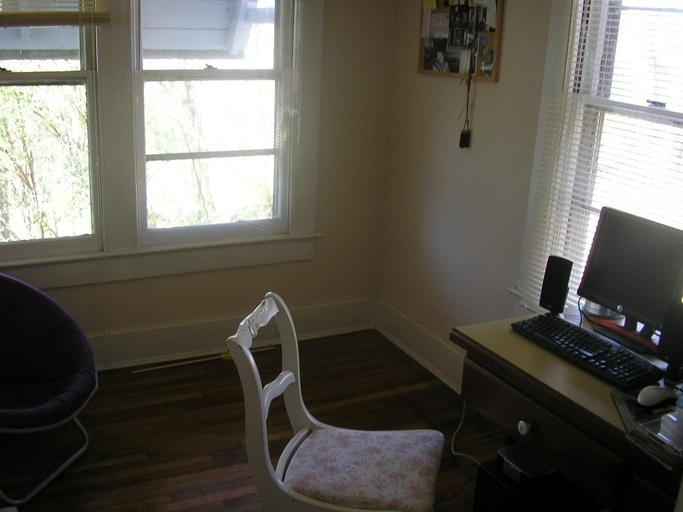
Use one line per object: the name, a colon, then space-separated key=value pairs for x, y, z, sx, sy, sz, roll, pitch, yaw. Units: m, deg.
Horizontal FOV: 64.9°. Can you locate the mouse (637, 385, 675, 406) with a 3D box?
mouse: x=0.976 y=0.435 z=1.669 sx=0.101 sy=0.061 sz=0.045 roll=-6 pitch=-11 yaw=0
